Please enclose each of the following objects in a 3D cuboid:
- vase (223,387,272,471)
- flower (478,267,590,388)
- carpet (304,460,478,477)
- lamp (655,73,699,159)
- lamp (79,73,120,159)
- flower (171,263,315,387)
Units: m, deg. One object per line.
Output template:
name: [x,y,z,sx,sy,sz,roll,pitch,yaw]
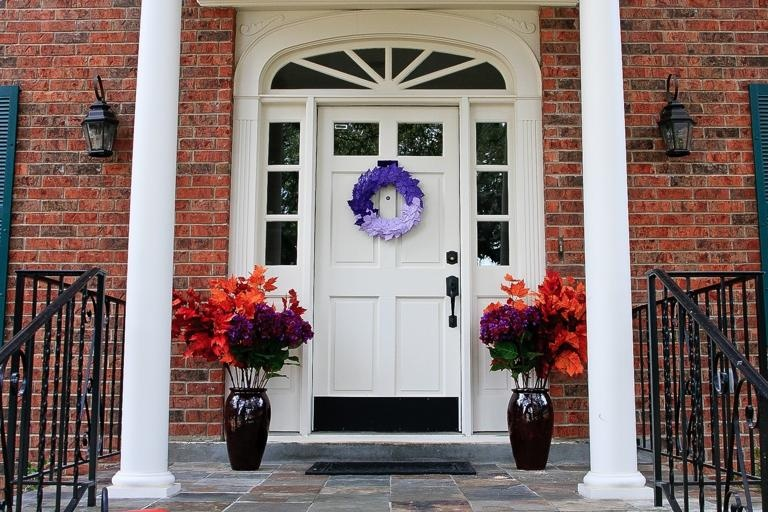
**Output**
vase: [-1.058,1.313,6.241,0.349,0.591,0.378,1,-3,21]
flower: [1.083,0.635,6.390,0.780,0.806,0.723,-7,-2,-32]
carpet: [0.046,1.613,6.133,1.271,0.064,0.439,-1,-4,-2]
lamp: [2.436,-1.155,6.711,0.346,0.656,0.246,3,-7,-43]
lamp: [-2.386,-1.177,6.731,0.333,0.694,0.244,-5,-6,35]
flower: [-1.098,0.535,6.565,0.975,0.872,1.007,5,-4,1]
